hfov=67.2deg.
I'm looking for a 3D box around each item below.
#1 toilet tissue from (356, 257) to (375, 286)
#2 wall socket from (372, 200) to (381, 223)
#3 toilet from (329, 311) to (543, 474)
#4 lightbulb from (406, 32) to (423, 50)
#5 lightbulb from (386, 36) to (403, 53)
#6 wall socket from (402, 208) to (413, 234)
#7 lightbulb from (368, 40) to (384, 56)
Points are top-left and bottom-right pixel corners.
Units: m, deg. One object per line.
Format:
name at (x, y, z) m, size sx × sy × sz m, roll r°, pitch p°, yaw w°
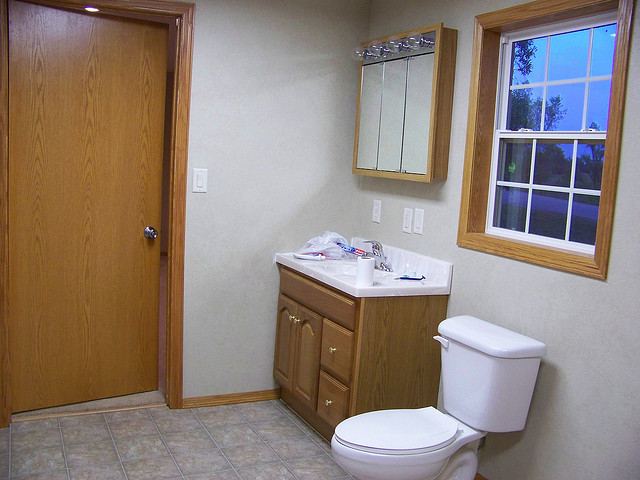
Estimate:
toilet tissue at (0.252, 0.165, 2.642) m, size 0.088 × 0.143 × 0.131 m, roll 9°, pitch 12°, yaw 26°
wall socket at (0.391, -0.207, 3.314) m, size 0.012 × 0.156 × 0.076 m, roll -1°, pitch 12°, yaw -27°
toilet at (0.465, 0.729, 2.543) m, size 1.000 × 0.922 × 0.586 m, roll -1°, pitch 7°, yaw -19°
lightbulb at (0.549, -1.171, 2.802) m, size 0.068 × 0.083 × 0.108 m, roll 0°, pitch 12°, yaw -24°
lightbulb at (0.456, -1.207, 2.936) m, size 0.122 × 0.091 × 0.029 m, roll 14°, pitch 14°, yaw 40°
wall socket at (0.559, -0.131, 3.065) m, size 0.015 × 0.155 × 0.075 m, roll -1°, pitch 12°, yaw -28°
lightbulb at (0.355, -1.222, 3.037) m, size 0.101 × 0.087 × 0.044 m, roll 7°, pitch 11°, yaw 12°
